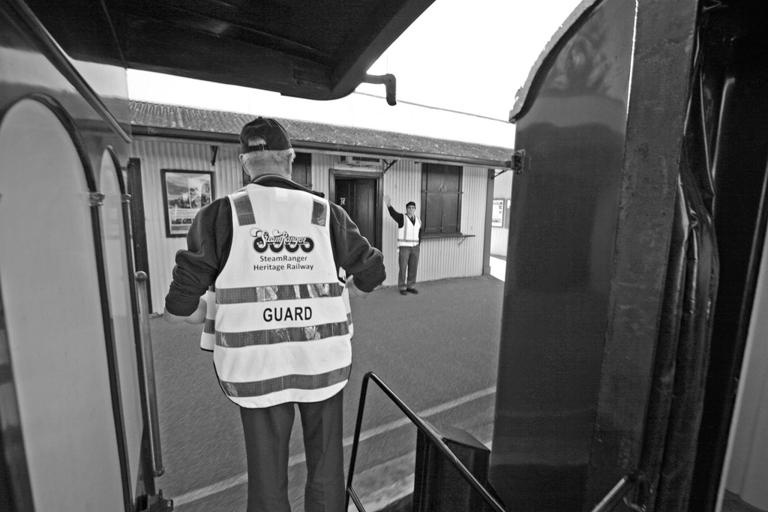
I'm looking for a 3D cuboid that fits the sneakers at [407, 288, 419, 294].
[{"bbox_3d":[0.522,0.609,11.021,0.189,0.098,0.267,-3,4,-3],"label":"sneakers"}]

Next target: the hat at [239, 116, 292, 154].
[{"bbox_3d":[-0.658,-0.702,3.513,0.169,0.153,0.270,7,20,22],"label":"hat"}]

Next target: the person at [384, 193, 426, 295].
[{"bbox_3d":[0.371,-0.235,11.317,0.608,1.738,1.174,-2,4,0],"label":"person"}]
